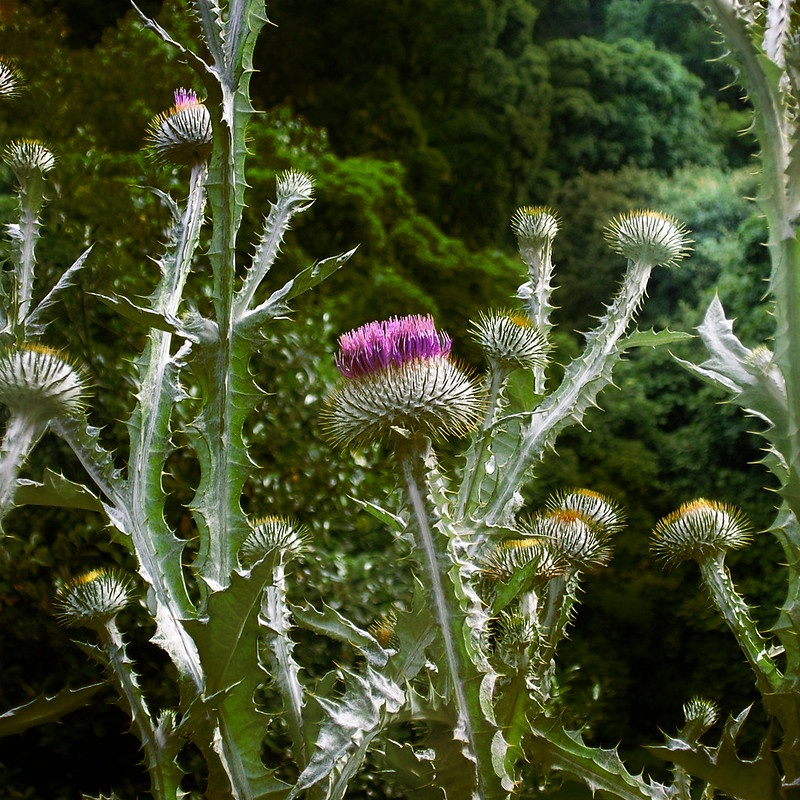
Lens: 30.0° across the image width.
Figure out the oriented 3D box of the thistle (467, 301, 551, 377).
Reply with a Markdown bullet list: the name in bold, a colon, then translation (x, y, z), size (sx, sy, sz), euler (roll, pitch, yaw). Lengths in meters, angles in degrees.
- **thistle**: translation (0.485, -0.263, 6.695), size (0.321, 0.213, 0.297), euler (37, 2, -11)

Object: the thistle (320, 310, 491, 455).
- **thistle**: translation (0.085, -0.002, 6.276), size (0.716, 0.600, 0.666), euler (3, -5, 19)

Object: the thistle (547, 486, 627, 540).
- **thistle**: translation (0.818, 0.479, 6.870), size (0.318, 0.197, 0.308), euler (15, 6, -42)

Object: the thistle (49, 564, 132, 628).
- **thistle**: translation (-1.350, 0.888, 6.612), size (0.339, 0.271, 0.283), euler (6, 19, -25)

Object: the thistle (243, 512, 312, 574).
- **thistle**: translation (-0.563, 0.606, 6.661), size (0.278, 0.246, 0.264), euler (11, 38, 9)

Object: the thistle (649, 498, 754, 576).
- **thistle**: translation (1.402, 0.649, 6.938), size (0.403, 0.382, 0.396), euler (-23, 17, -39)
